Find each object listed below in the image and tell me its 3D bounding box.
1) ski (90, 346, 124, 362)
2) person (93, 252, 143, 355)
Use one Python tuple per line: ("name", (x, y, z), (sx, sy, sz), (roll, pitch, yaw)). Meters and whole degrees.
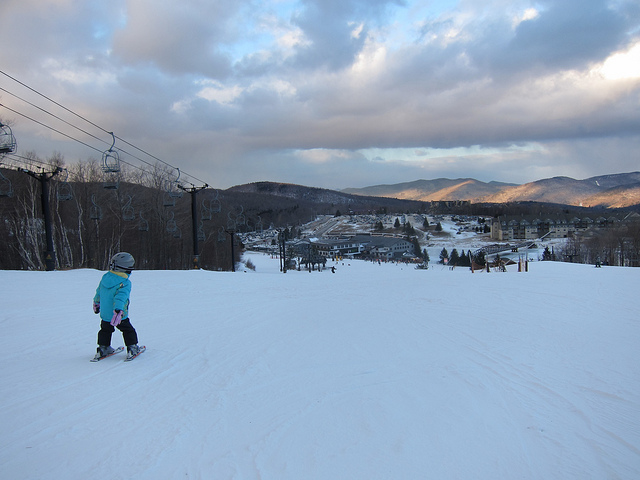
("ski", (-4.466, 2.389, 9.942), (0.168, 0.248, 0.576), (6, 20, 26))
("person", (-4.261, 1.358, 9.930), (0.803, 2.155, 0.470), (0, 7, -21))
